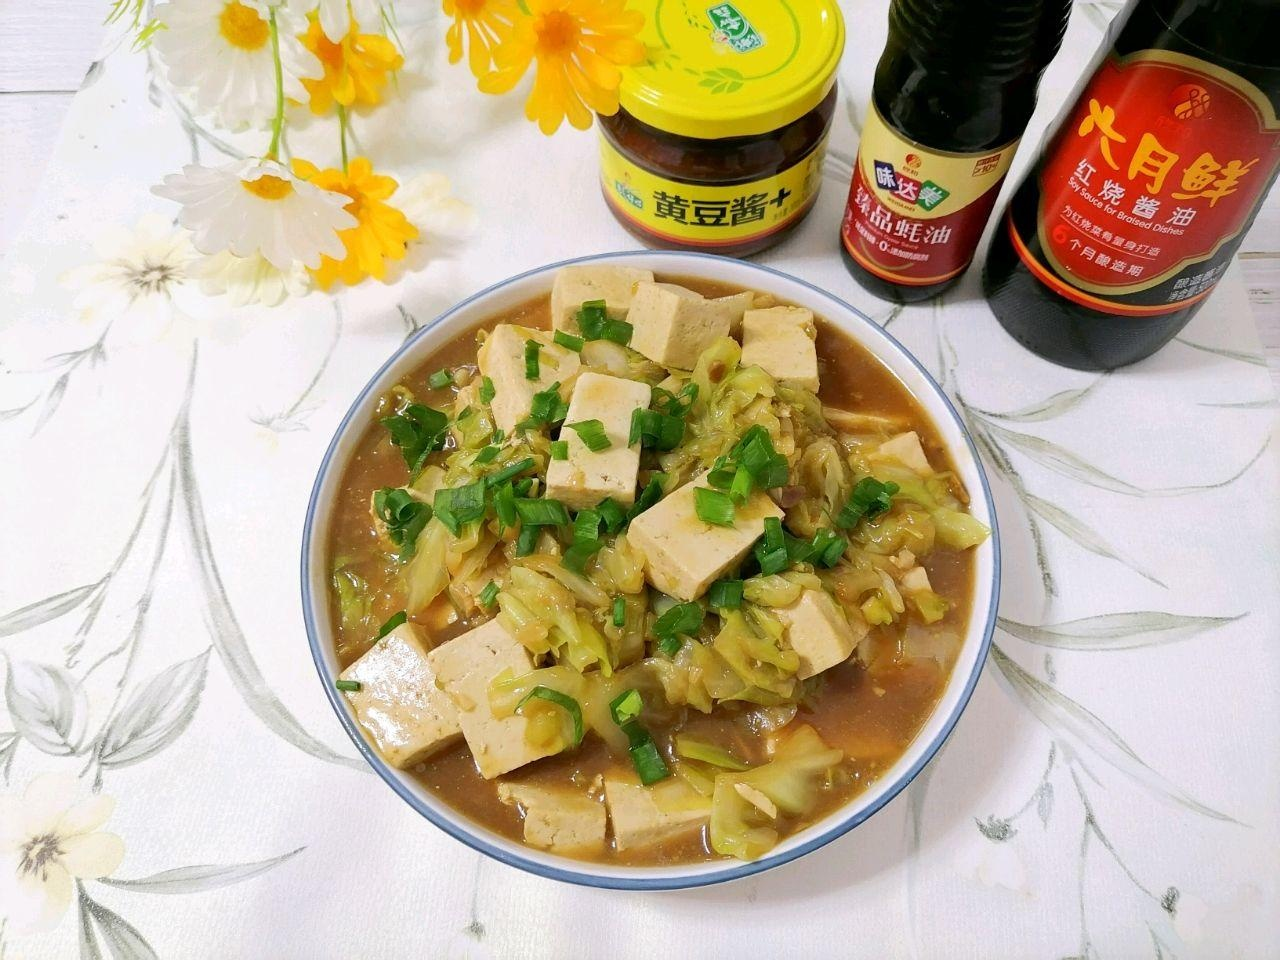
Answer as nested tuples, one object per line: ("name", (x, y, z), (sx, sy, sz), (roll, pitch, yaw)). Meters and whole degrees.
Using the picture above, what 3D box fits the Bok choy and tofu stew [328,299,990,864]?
("Bok choy and tofu stew", (0.025, 0.228, 2.858), (1.802, 0.323, 1.528), (-3, 77, 3))

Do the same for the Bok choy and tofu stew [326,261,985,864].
("Bok choy and tofu stew", (0.039, 0.278, 2.839), (1.382, 0.515, 1.425), (-2, 79, 3))
